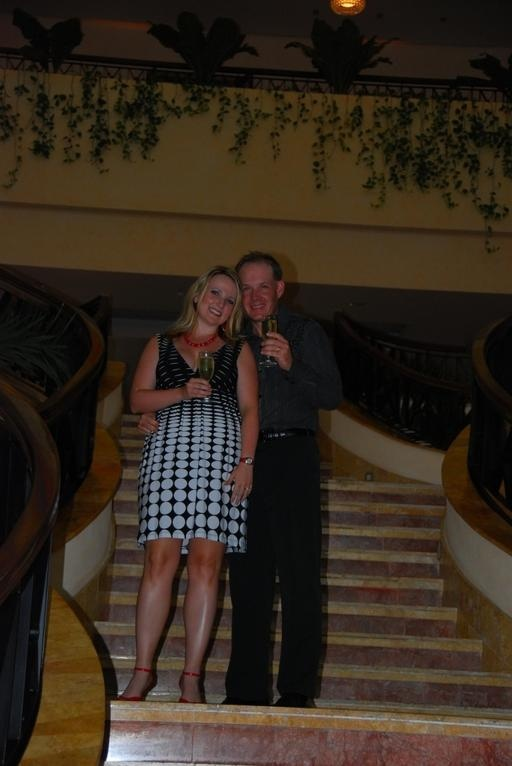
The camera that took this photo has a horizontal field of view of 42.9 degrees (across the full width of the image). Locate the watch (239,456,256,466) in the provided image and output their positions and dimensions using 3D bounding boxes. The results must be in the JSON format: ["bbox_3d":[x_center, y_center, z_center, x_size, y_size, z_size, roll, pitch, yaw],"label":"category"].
[{"bbox_3d":[-0.021,0.249,2.097,0.030,0.033,0.029,-6,-4,-41],"label":"watch"}]

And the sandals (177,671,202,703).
[{"bbox_3d":[-0.188,0.867,1.848,0.043,0.055,0.133,1,-22,-3],"label":"sandals"}]

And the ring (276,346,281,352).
[{"bbox_3d":[0.077,-0.115,2.164,0.012,0.003,0.012,14,35,-10],"label":"ring"}]

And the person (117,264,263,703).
[{"bbox_3d":[-0.208,0.542,2.158,0.437,1.791,0.890,2,13,-8],"label":"person"}]

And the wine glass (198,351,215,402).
[{"bbox_3d":[-0.158,-0.051,2.064,0.045,0.093,0.062,2,14,-9],"label":"wine glass"}]
